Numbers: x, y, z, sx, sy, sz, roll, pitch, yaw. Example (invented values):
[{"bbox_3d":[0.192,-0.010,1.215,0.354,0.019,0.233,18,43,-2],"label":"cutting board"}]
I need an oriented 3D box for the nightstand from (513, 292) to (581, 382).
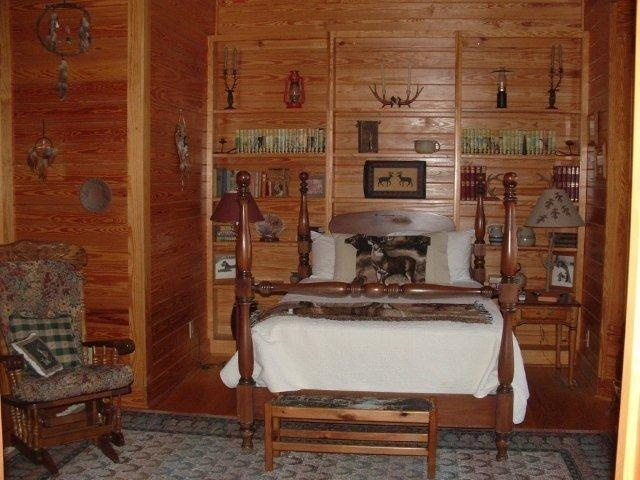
[{"bbox_3d":[2.093,0.860,5.013,0.542,0.767,0.744,5,12,22],"label":"nightstand"}]

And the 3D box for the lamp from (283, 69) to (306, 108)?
[{"bbox_3d":[-0.253,-1.524,5.464,0.203,0.400,0.358,-1,11,-2],"label":"lamp"}]

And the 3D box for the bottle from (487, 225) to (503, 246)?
[{"bbox_3d":[1.682,-0.054,5.358,0.250,0.201,0.265,1,-6,0],"label":"bottle"}]

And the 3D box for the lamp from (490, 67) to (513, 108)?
[{"bbox_3d":[1.765,-1.497,5.345,0.164,0.429,0.368,3,12,16],"label":"lamp"}]

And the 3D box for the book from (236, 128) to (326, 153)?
[{"bbox_3d":[-0.394,-0.994,5.451,0.879,0.253,0.224,-1,11,-2],"label":"book"}]

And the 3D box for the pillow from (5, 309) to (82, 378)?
[{"bbox_3d":[-1.944,0.709,3.808,0.135,0.369,0.510,-33,-22,32],"label":"pillow"}]

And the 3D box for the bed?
[{"bbox_3d":[0.556,0.495,4.169,2.090,1.272,2.236,1,17,5],"label":"bed"}]

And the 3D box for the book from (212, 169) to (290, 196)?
[{"bbox_3d":[-0.662,-0.548,5.168,0.649,0.163,0.160,1,32,1],"label":"book"}]

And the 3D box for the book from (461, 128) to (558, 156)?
[{"bbox_3d":[1.820,-0.952,5.286,0.864,0.258,0.267,2,11,12],"label":"book"}]

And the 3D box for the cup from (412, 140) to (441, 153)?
[{"bbox_3d":[1.047,-0.928,5.339,0.260,0.082,0.163,2,3,4],"label":"cup"}]

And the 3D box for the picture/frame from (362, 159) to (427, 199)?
[{"bbox_3d":[0.747,-0.606,5.427,0.051,0.393,0.809,-12,14,-42],"label":"picture/frame"}]

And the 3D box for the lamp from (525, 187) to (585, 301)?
[{"bbox_3d":[2.157,0.006,5.046,0.475,0.977,0.601,4,13,20],"label":"lamp"}]
